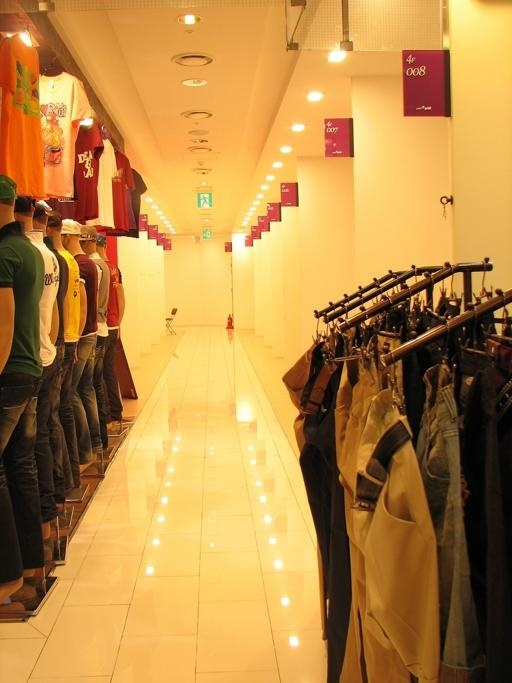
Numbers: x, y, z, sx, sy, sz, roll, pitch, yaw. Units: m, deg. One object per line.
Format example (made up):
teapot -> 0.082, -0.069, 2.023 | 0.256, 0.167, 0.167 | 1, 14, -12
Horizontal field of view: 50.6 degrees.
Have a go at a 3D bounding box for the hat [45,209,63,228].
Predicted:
hat -> -1.241, -0.744, 3.334 | 0.059, 0.108, 0.095 | -1, 1, -9

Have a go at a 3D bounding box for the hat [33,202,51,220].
hat -> -1.208, -0.739, 3.059 | 0.111, 0.060, 0.174 | -11, 26, -23

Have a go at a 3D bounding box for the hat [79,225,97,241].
hat -> -1.490, -0.952, 4.804 | 0.158, 0.069, 0.118 | 0, 5, 26
